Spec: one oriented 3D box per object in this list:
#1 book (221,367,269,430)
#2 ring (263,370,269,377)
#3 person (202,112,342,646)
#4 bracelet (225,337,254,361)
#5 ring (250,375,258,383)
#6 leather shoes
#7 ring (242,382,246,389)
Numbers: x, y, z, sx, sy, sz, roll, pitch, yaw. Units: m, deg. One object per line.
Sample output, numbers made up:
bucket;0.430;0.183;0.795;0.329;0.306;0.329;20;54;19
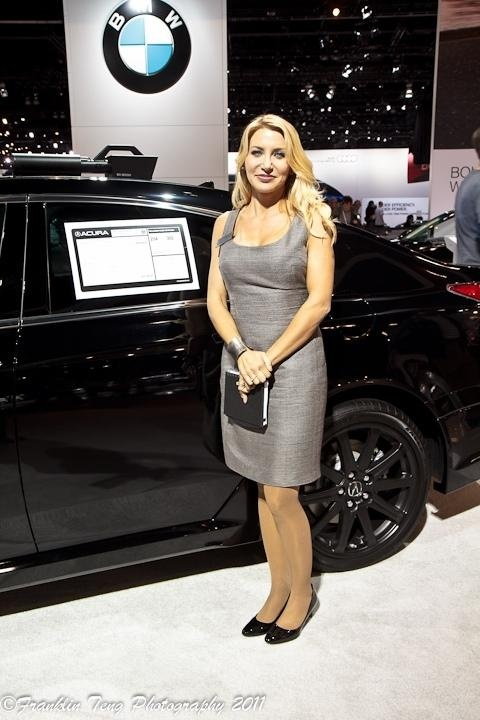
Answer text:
book;0.017;0.093;1.283;0.026;0.129;0.135;-13;28;-37
ring;0.064;0.030;1.226;0.013;0.021;0.006;-4;6;-27
person;0.093;0.099;1.393;0.356;1.450;0.324;-1;5;-4
bracelet;0.000;-0.033;1.320;0.047;0.058;0.049;-31;42;-10
ring;0.034;0.047;1.233;0.004;0.014;0.015;1;0;-43
leather shoes;0.130;0.747;1.517;0.169;0.066;0.111;-5;3;-44
ring;0.011;0.064;1.262;0.004;0.017;0.015;-4;6;-36
